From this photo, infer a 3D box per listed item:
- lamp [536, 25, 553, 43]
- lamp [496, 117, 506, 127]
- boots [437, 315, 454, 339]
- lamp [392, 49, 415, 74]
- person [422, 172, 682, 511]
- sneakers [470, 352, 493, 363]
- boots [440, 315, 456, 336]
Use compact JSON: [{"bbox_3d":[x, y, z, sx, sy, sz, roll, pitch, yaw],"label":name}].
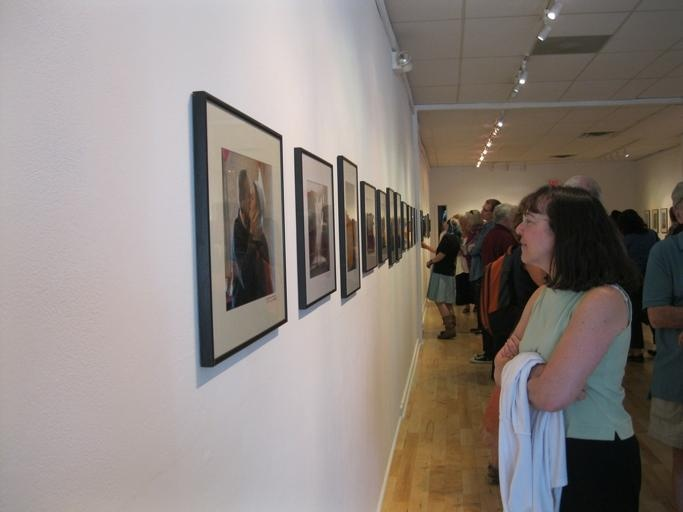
[{"bbox_3d":[1.854,-2.033,4.572,0.085,0.157,0.091,15,25,-37],"label":"lamp"},{"bbox_3d":[2.678,-2.252,8.401,0.106,0.131,0.213,4,1,8],"label":"lamp"},{"bbox_3d":[1.685,1.206,8.344,0.350,0.475,0.196,1,-2,8],"label":"boots"},{"bbox_3d":[0.551,-1.722,4.453,0.073,0.182,0.211,-13,13,-26],"label":"lamp"},{"bbox_3d":[0.837,0.328,1.867,0.524,1.196,0.451,4,-7,36],"label":"person"},{"bbox_3d":[1.861,1.339,6.629,0.197,0.092,0.167,6,-1,7],"label":"sneakers"},{"bbox_3d":[1.755,1.160,8.282,0.307,0.432,0.203,2,2,23],"label":"boots"}]
